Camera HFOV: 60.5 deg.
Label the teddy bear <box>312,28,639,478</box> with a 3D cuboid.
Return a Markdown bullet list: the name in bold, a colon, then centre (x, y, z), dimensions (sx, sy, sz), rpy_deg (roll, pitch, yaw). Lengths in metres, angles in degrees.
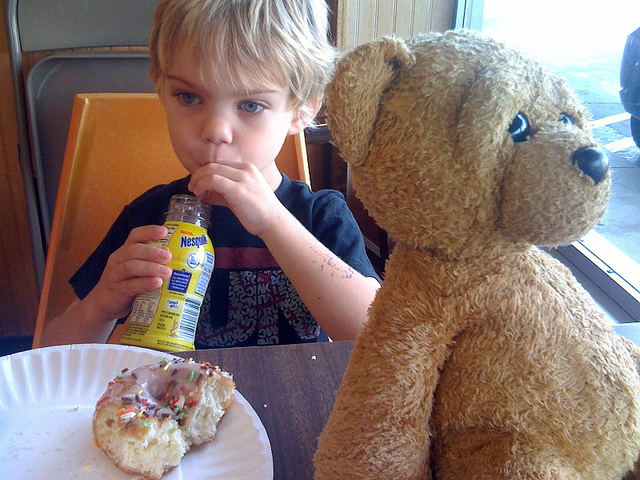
- **teddy bear**: centre (0.121, 0.014, 0.595), dimensions (0.281, 0.383, 0.349), rpy_deg (11, 18, 3)

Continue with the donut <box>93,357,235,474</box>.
- **donut**: centre (-0.200, 0.215, 0.712), dimensions (0.174, 0.072, 0.160), rpy_deg (0, 32, -10)
